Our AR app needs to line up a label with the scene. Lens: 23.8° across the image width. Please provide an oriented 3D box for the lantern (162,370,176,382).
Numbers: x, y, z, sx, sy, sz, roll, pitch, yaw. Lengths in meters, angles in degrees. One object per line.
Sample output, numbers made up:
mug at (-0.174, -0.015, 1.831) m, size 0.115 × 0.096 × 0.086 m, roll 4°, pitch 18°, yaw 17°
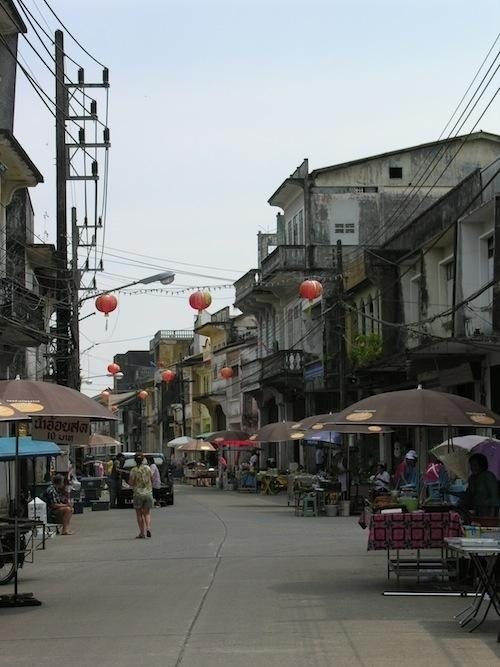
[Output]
lantern at (-3.466, 1.859, 49.920) m, size 0.655 × 0.628 × 0.690 m, roll 2°, pitch 13°, yaw 3°

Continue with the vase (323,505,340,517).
vase at (1.958, 4.230, 28.246) m, size 0.264 × 0.203 × 0.265 m, roll 1°, pitch -15°, yaw -9°

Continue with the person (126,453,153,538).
person at (-2.050, 3.016, 22.201) m, size 0.447 × 1.631 × 1.391 m, roll -2°, pitch -9°, yaw -6°

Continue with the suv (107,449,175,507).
suv at (-3.192, 4.292, 34.864) m, size 1.531 × 1.390 × 2.678 m, roll 0°, pitch -2°, yaw -8°

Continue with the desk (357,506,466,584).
desk at (1.941, 2.578, 14.312) m, size 1.098 × 0.733 × 1.109 m, roll 0°, pitch 0°, yaw -2°

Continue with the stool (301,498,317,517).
stool at (1.429, 4.128, 28.225) m, size 0.383 × 0.503 × 0.386 m, roll 1°, pitch -14°, yaw -9°
